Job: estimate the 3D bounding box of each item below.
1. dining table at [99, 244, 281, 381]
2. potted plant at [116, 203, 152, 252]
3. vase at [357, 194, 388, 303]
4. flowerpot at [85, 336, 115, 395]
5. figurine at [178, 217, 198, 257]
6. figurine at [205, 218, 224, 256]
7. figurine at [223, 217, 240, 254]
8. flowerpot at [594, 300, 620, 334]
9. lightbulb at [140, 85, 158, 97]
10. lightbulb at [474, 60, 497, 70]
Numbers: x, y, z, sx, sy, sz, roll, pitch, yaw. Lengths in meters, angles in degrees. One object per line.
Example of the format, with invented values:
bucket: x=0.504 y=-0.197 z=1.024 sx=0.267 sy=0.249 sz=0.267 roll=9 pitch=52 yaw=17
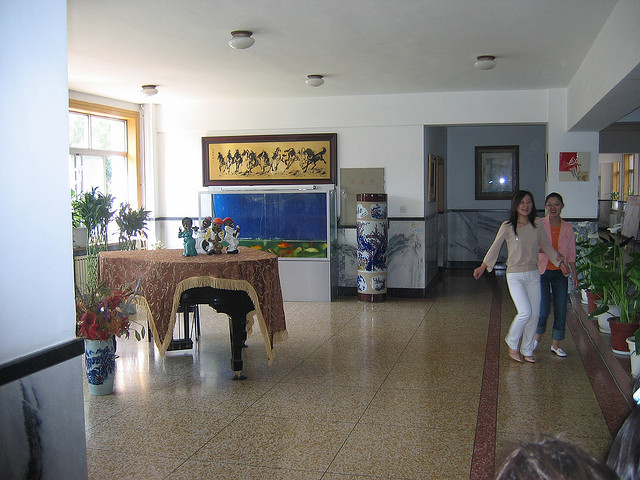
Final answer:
dining table: x=-1.302 y=0.477 z=4.891 sx=1.262 sy=1.003 sz=1.821 roll=0 pitch=3 yaw=10
potted plant: x=-3.180 y=-0.218 z=7.903 sx=0.695 sy=0.946 sz=0.704 roll=4 pitch=2 yaw=-15
vase: x=0.911 y=0.171 z=8.078 sx=0.403 sy=1.984 sz=0.483 roll=2 pitch=4 yaw=14
flowerpot: x=-2.048 y=1.180 z=4.317 sx=0.296 sy=0.526 sz=0.292 roll=-7 pitch=-4 yaw=40
figurine: x=-1.415 y=-0.033 z=4.945 sx=0.169 sy=0.406 sz=0.367 roll=-3 pitch=4 yaw=-20
figurine: x=-1.149 y=-0.038 z=5.081 sx=0.261 sy=0.383 sz=0.199 roll=-4 pitch=5 yaw=-35
figurine: x=-0.989 y=-0.046 z=5.132 sx=0.173 sy=0.385 sz=0.380 roll=-2 pitch=4 yaw=-12
flowerpot: x=3.136 y=0.857 z=5.077 sx=0.346 sy=0.301 sz=0.378 roll=0 pitch=-1 yaw=-7
lightbulb: x=-2.814 y=-2.443 z=7.542 sx=0.157 sy=0.093 sz=0.164 roll=1 pitch=12 yaw=18
lightbulb: x=2.178 y=-2.296 z=5.998 sx=0.292 sy=0.079 sz=0.197 roll=-5 pitch=5 yaw=-43
